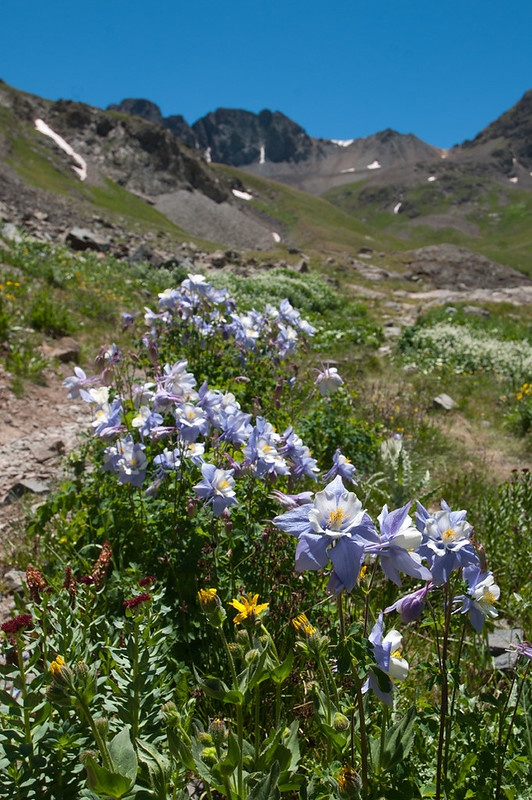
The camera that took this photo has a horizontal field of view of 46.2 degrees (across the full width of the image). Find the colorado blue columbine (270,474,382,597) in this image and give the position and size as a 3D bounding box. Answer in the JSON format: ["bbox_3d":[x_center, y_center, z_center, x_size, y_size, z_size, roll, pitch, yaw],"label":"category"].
[{"bbox_3d":[0.137,0.263,1.373,0.251,0.099,0.211,21,14,21],"label":"colorado blue columbine"}]

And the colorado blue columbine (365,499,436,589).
[{"bbox_3d":[0.308,0.307,1.409,0.130,0.216,0.218,4,9,21],"label":"colorado blue columbine"}]
